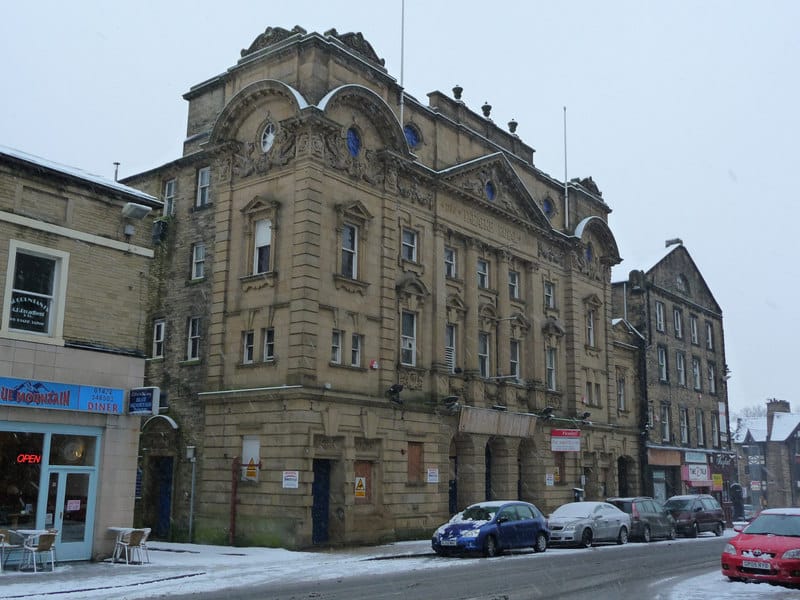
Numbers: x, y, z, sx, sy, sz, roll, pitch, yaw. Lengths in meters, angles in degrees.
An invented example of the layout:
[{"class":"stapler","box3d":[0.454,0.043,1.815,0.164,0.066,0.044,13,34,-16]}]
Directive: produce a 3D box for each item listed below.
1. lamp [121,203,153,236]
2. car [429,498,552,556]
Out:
[{"class":"lamp","box3d":[-8.872,-2.754,26.742,0.920,1.028,0.836,9,-22,-31]},{"class":"car","box3d":[3.335,8.213,28.667,4.269,1.922,1.536,12,-23,-36]}]
